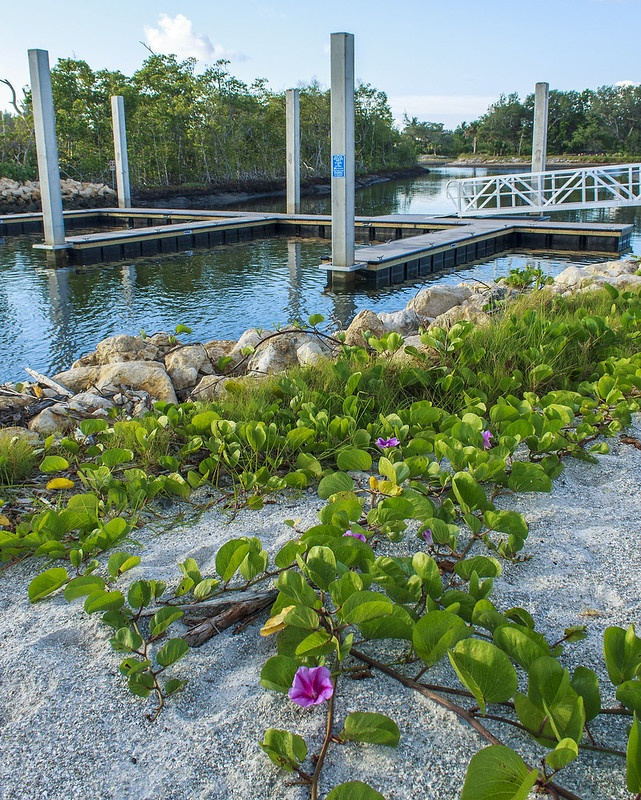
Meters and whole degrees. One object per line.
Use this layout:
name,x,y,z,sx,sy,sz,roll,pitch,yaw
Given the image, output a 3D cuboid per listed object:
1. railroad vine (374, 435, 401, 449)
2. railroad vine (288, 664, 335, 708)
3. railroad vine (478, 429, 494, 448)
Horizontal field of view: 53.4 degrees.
railroad vine,0.204,0.131,1.898,0.048,0.025,0.047,0,14,23
railroad vine,-0.015,0.432,0.951,0.064,0.051,0.044,-5,14,1
railroad vine,0.500,0.119,1.933,0.023,0.054,0.055,0,16,34
